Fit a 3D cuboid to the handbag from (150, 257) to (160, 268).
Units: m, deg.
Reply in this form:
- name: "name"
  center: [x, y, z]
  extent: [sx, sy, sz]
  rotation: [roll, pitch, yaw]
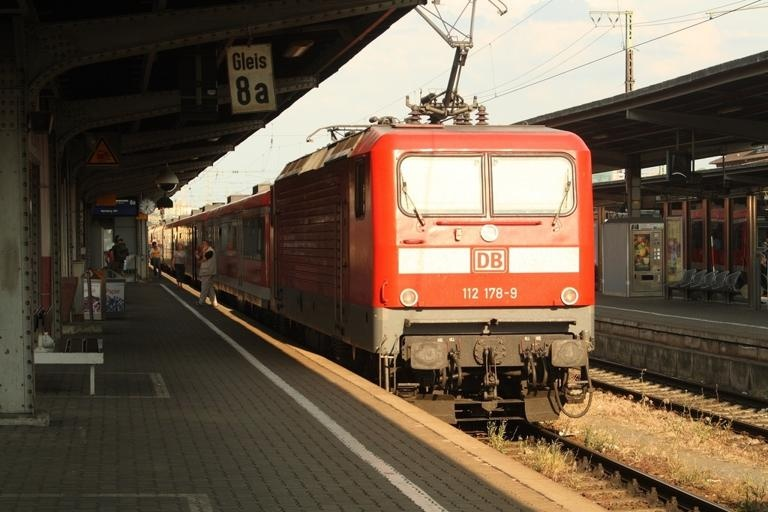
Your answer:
- name: "handbag"
  center: [-12.992, 0.347, 39.940]
  extent: [0.460, 0.453, 0.768]
  rotation: [13, -11, -32]
